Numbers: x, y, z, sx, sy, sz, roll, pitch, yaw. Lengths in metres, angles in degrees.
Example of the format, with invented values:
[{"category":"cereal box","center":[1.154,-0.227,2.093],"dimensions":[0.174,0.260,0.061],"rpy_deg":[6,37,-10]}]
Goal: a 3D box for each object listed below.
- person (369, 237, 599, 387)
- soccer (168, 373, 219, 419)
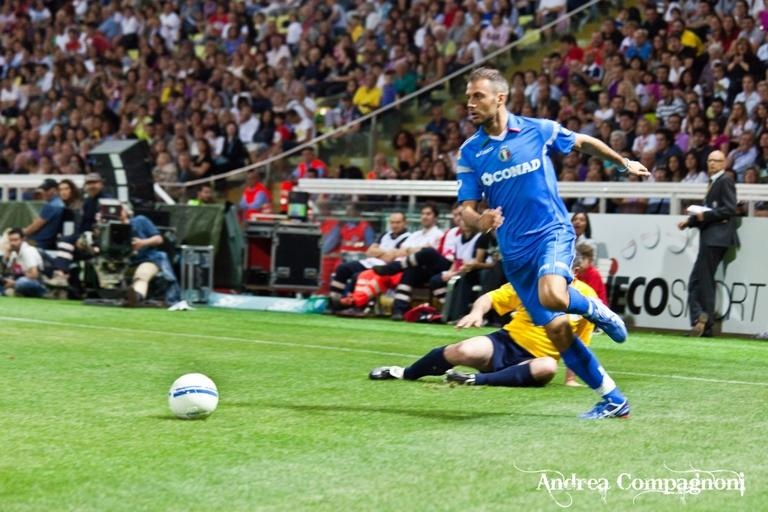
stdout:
[{"category":"person","center":[1.136,0.774,11.306],"dimensions":[2.316,1.463,1.045],"rpy_deg":[1,1,-18]},{"category":"soccer","center":[-1.710,1.275,9.991],"dimensions":[0.416,0.381,0.228],"rpy_deg":[-1,11,-11]}]
